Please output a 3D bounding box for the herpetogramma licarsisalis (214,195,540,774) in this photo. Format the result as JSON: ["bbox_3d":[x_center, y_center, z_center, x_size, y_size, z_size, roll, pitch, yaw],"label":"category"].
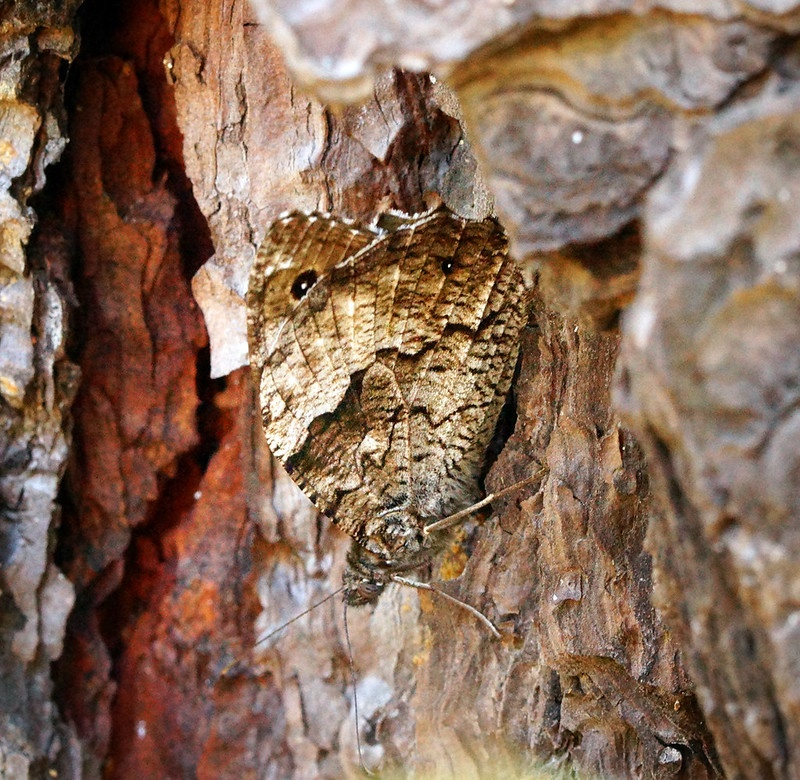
[{"bbox_3d":[-0.001,0.040,4.129,0.514,0.654,0.553,-6,68,3],"label":"herpetogramma licarsisalis"}]
